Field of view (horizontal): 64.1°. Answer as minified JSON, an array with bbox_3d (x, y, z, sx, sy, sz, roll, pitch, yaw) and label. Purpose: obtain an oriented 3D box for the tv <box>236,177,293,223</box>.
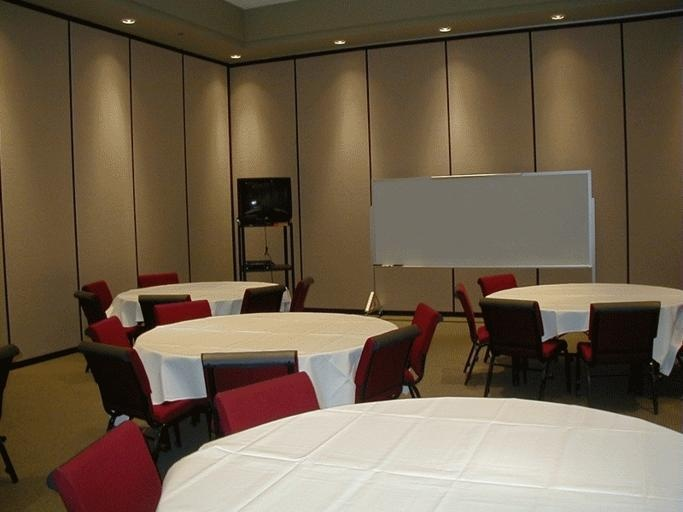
[{"bbox_3d":[-1.173,-0.781,8.429,1.027,1.031,0.571,-1,1,-11],"label":"tv"}]
